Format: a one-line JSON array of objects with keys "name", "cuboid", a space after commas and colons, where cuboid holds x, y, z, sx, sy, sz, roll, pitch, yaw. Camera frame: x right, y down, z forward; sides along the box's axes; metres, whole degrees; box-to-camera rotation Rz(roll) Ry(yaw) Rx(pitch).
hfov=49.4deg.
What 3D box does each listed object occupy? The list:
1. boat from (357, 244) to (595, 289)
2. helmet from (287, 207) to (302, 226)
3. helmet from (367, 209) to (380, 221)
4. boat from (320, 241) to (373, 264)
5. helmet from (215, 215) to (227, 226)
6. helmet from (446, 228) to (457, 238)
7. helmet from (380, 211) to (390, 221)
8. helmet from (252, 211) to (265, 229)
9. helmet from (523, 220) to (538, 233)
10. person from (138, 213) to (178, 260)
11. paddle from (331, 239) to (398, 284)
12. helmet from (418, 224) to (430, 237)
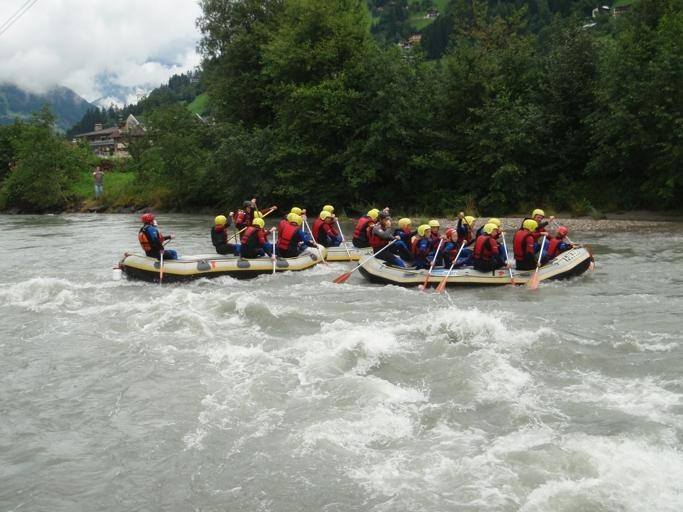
[{"name": "boat", "cuboid": [3.755, 0.531, 20.394, 4.613, 0.882, 2.175, -1, -4, 7]}, {"name": "helmet", "cuboid": [-1.468, -1.185, 22.552, 0.450, 0.257, 0.630, 10, 14, -16]}, {"name": "helmet", "cuboid": [1.012, -1.282, 23.519, 0.443, 0.302, 0.227, 9, -29, 45]}, {"name": "boat", "cuboid": [0.118, -0.069, 24.094, 1.391, 0.386, 0.644, 0, 6, -1]}, {"name": "helmet", "cuboid": [-3.690, -1.062, 22.472, 0.318, 0.275, 0.404, -4, 6, -6]}, {"name": "helmet", "cuboid": [3.083, -0.641, 20.964, 0.312, 0.242, 0.229, -11, 8, 32]}, {"name": "helmet", "cuboid": [1.226, -1.181, 21.651, 0.283, 0.240, 0.408, -4, 6, 0]}, {"name": "helmet", "cuboid": [-2.535, -1.083, 22.185, 0.407, 0.320, 0.677, 12, -13, 4]}, {"name": "helmet", "cuboid": [5.184, -0.824, 20.325, 0.456, 0.347, 0.391, -4, 7, -5]}, {"name": "person", "cuboid": [-5.283, -0.538, 20.964, 0.866, 1.309, 1.231, -5, 7, -13]}, {"name": "paddle", "cuboid": [0.690, 0.198, 21.980, 2.546, 0.354, 0.187, -28, -8, -11]}, {"name": "helmet", "cuboid": [2.326, -0.718, 21.301, 0.376, 0.276, 0.293, -15, 4, 28]}]
